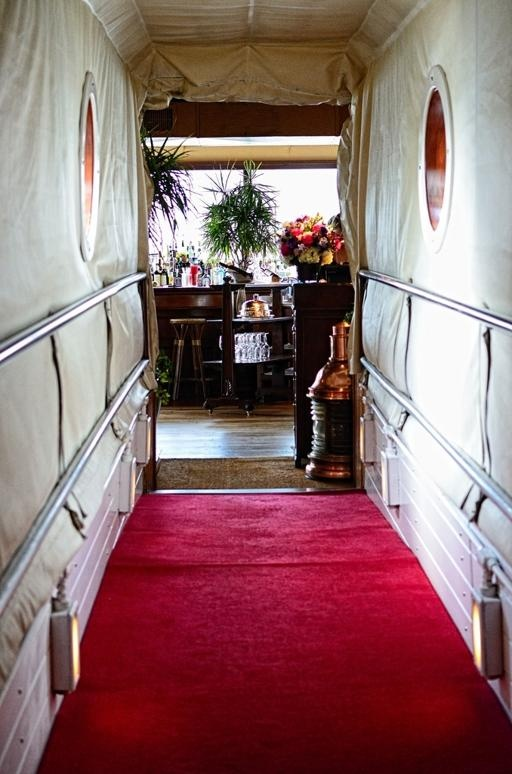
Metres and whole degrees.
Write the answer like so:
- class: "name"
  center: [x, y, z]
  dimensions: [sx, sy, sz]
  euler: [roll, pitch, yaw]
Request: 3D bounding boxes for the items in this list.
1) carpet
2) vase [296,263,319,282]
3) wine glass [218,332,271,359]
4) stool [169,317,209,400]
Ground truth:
- class: "carpet"
  center: [-0.146, 0.677, 3.919]
  dimensions: [1.343, 0.136, 0.905]
  euler: [0, -2, -1]
- class: "vase"
  center: [0.475, -0.993, 4.391]
  dimensions: [0.143, 0.164, 0.149]
  euler: [4, 6, 22]
- class: "wine glass"
  center: [-0.034, -0.489, 6.232]
  dimensions: [0.454, 0.372, 0.194]
  euler: [0, -3, -7]
- class: "stool"
  center: [-0.959, -0.350, 7.134]
  dimensions: [0.519, 1.128, 0.590]
  euler: [0, -3, -7]
